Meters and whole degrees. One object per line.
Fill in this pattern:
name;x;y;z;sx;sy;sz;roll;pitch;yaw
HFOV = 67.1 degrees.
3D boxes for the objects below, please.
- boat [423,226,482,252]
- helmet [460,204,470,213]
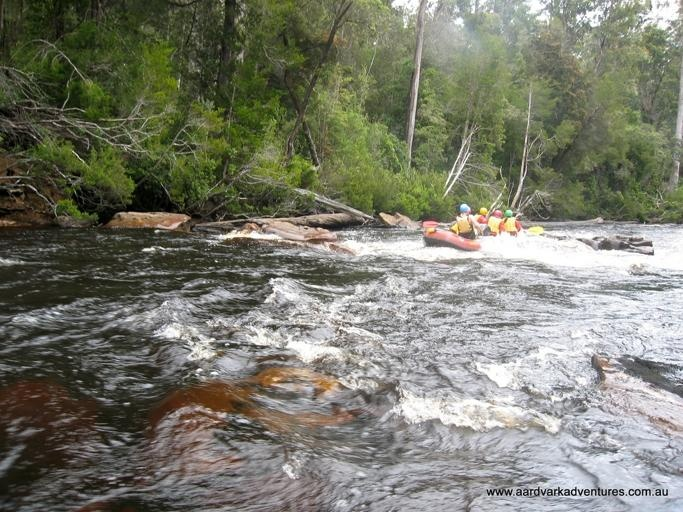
boat;3.247;-0.504;15.606;1.246;0.385;0.895;15;5;8
helmet;3.870;-1.533;16.188;0.292;0.230;0.443;12;25;38
